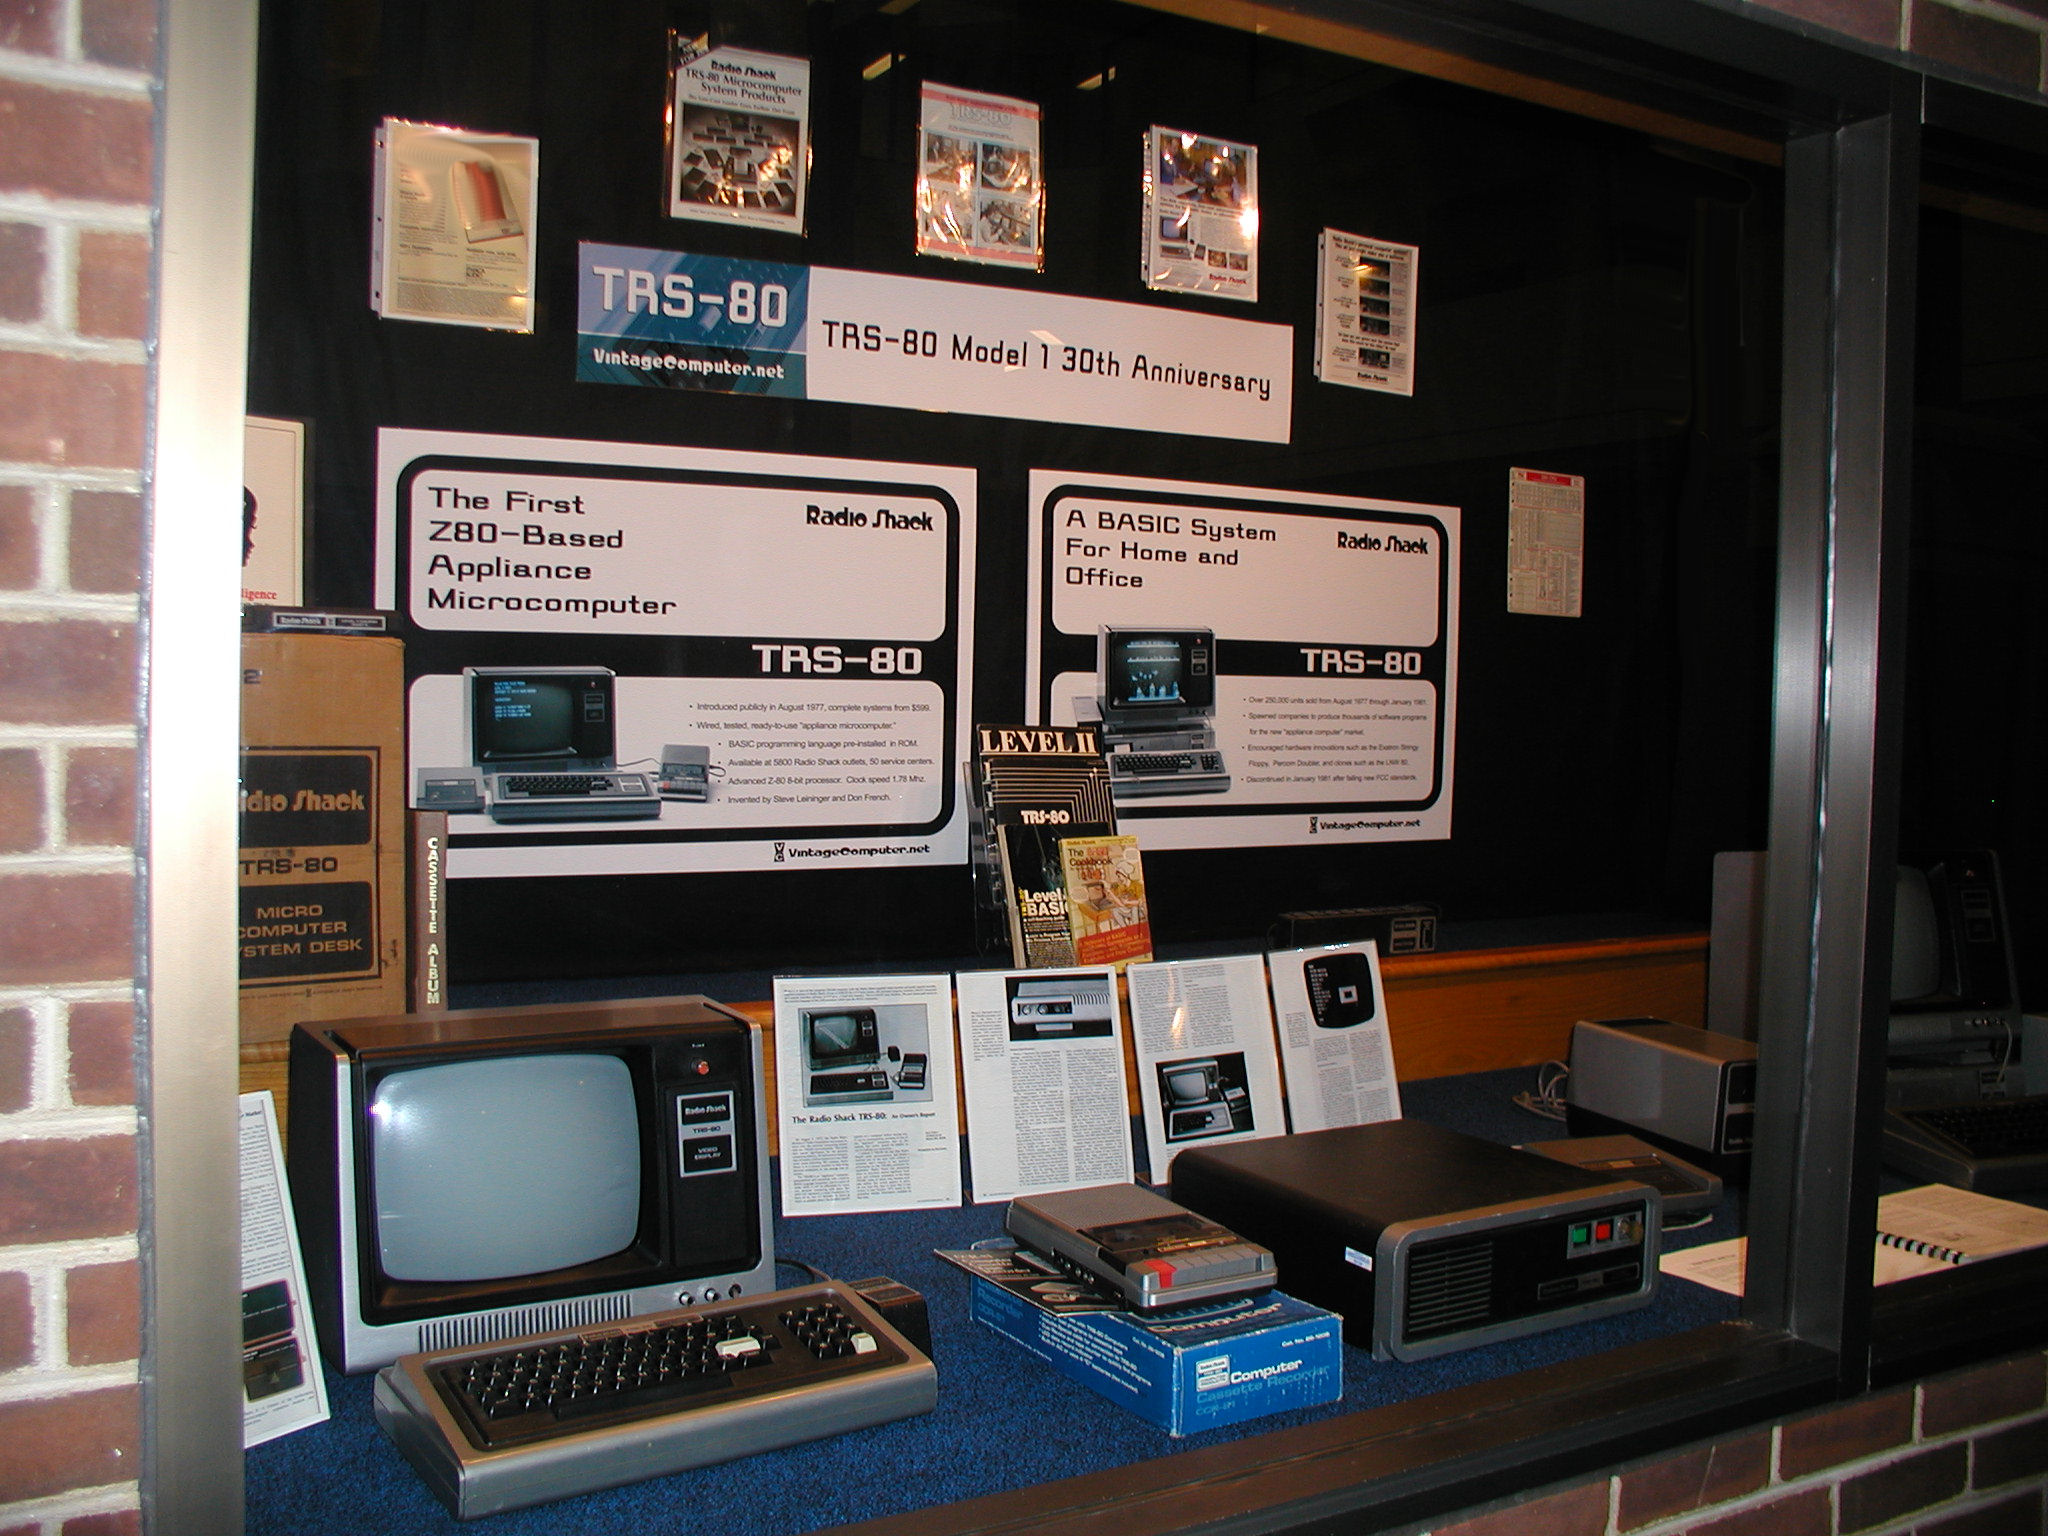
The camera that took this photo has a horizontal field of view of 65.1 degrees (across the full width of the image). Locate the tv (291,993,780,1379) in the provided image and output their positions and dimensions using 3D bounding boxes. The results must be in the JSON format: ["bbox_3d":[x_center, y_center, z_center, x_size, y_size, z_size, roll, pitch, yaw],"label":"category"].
[{"bbox_3d":[-0.687,0.597,2.229,0.572,0.405,0.419,1,-15,-33],"label":"tv"}]

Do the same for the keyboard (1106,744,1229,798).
[{"bbox_3d":[0.400,0.008,4.239,0.458,0.119,0.093,-4,2,-39],"label":"keyboard"}]

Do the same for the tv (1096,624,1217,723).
[{"bbox_3d":[0.346,-0.243,4.196,0.394,0.307,0.210,-1,3,-27],"label":"tv"}]

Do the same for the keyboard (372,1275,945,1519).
[{"bbox_3d":[-0.429,0.739,1.915,0.603,0.129,0.250,-4,1,-27],"label":"keyboard"}]
